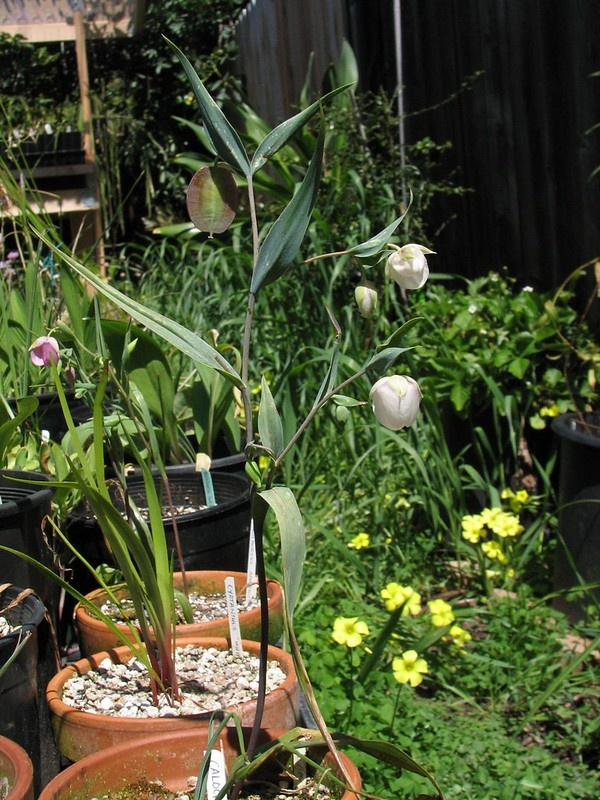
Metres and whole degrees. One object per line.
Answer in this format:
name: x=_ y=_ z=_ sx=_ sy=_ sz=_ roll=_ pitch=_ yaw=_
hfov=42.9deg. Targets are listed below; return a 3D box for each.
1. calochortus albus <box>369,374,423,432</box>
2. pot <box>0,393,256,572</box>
calochortus albus: x=0.105 y=0.005 z=0.839 sx=0.063 sy=0.062 sz=0.061 roll=-2 pitch=3 yaw=3
pot: x=-0.289 y=0.166 z=1.511 sx=0.413 sy=0.292 sz=0.417 roll=-1 pitch=1 yaw=0
